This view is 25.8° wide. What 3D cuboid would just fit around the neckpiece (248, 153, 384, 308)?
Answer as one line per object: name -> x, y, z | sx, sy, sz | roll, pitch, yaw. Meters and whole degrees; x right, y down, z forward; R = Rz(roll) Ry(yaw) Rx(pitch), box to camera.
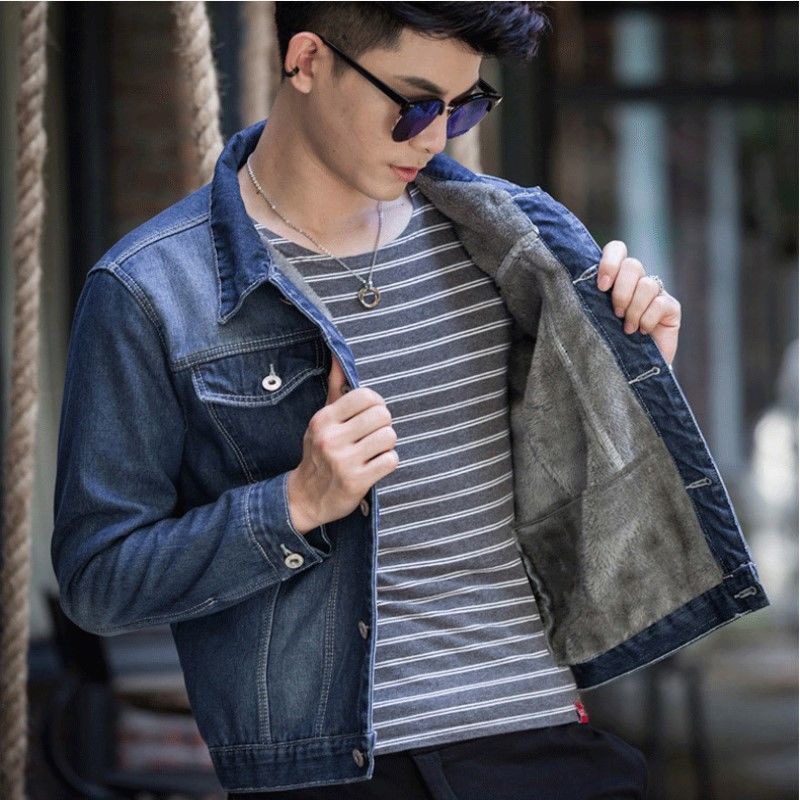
neckpiece -> -0.121, -0.225, 2.456 | 0.135, 0.226, 0.025 | -20, -11, -48
